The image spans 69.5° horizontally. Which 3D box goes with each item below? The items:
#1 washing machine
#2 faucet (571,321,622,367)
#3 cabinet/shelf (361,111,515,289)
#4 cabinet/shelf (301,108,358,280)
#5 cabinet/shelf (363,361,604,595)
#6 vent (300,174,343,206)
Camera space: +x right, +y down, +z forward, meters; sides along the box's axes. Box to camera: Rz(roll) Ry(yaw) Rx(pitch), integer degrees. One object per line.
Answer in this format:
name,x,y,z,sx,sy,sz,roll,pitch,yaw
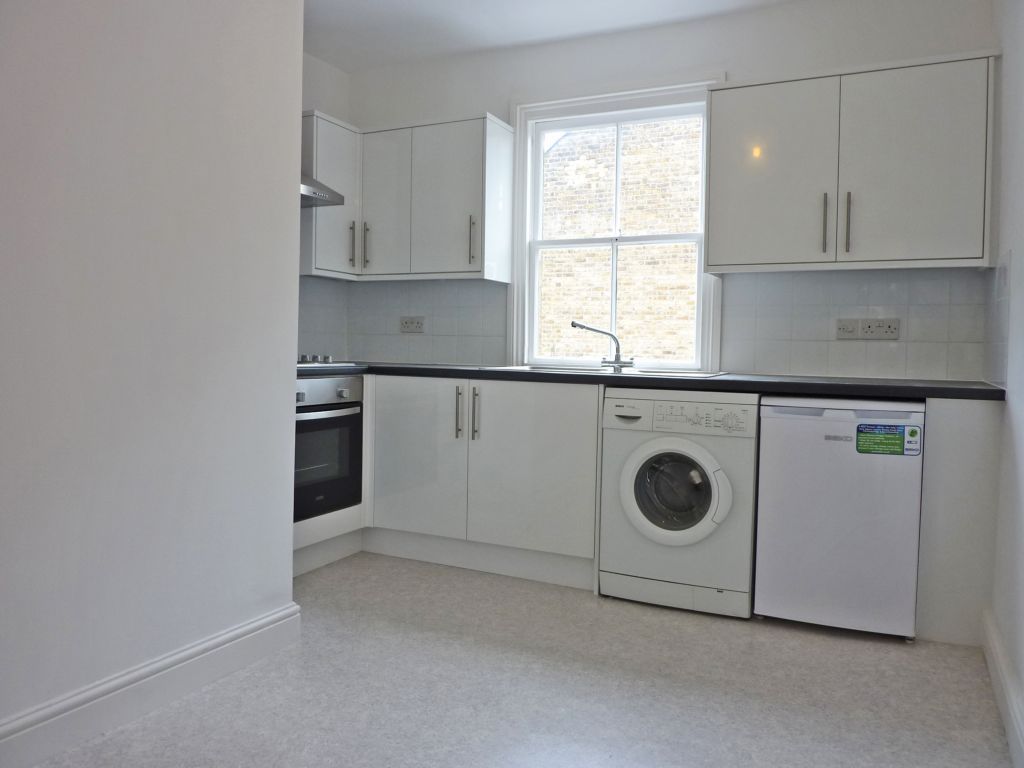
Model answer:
washing machine,0.748,0.541,3.727,0.867,1.339,0.857,0,-2,23
faucet,0.492,-0.216,4.202,0.303,0.245,0.462,1,9,4
cabinet/shelf,-0.506,-1.074,4.528,0.915,0.929,0.370,2,4,25
cabinet/shelf,-1.066,-1.308,4.392,0.256,0.538,0.187,-6,3,-34
cabinet/shelf,-0.167,0.409,3.972,1.175,1.061,0.467,4,15,14
vent,-1.054,-1.010,3.951,0.247,0.079,0.199,1,0,35
